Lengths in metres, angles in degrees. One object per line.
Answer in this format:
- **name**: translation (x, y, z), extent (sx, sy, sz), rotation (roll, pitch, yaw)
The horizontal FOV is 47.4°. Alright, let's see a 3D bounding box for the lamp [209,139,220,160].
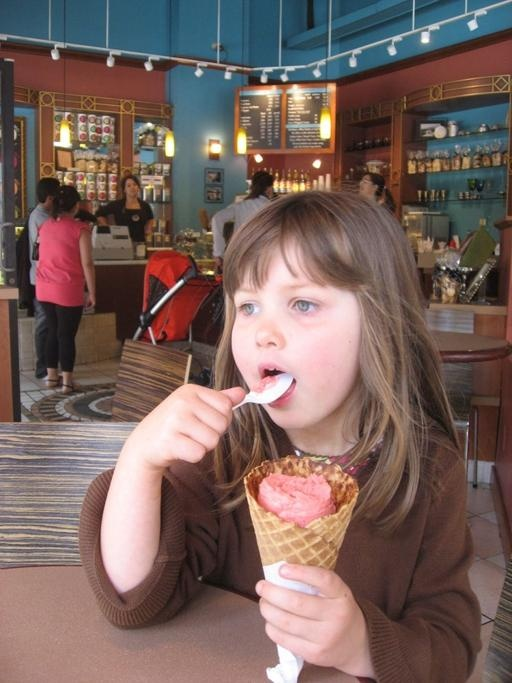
- **lamp**: translation (-0.585, -2.729, 8.308), extent (0.200, 0.274, 0.050), rotation (-7, 13, -30)

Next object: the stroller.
- **stroller**: translation (-0.552, -0.145, 4.168), extent (0.544, 0.838, 0.718), rotation (12, -5, -44)

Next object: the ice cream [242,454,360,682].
- **ice cream**: translation (0.040, 0.176, 0.537), extent (0.105, 0.112, 0.104), rotation (4, 11, 20)

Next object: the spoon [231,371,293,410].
- **spoon**: translation (0.011, 0.063, 0.669), extent (0.072, 0.010, 0.031), rotation (-30, 43, -2)

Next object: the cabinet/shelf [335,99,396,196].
- **cabinet/shelf**: translation (1.585, -2.355, 7.707), extent (0.460, 1.359, 0.847), rotation (-11, 16, -41)

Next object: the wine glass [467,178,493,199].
- **wine glass**: translation (2.399, -1.640, 6.259), extent (0.229, 0.173, 0.246), rotation (0, 7, 10)

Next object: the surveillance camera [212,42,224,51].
- **surveillance camera**: translation (-0.518, -3.999, 7.956), extent (0.128, 0.089, 0.042), rotation (18, 9, 37)

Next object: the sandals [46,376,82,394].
- **sandals**: translation (-1.603, 0.359, 4.847), extent (0.140, 0.098, 0.249), rotation (10, 13, 29)

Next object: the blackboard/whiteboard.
- **blackboard/whiteboard**: translation (0.397, -2.917, 7.602), extent (1.521, 0.931, 0.149), rotation (1, 10, 11)

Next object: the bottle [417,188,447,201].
- **bottle**: translation (2.032, -1.686, 6.753), extent (0.207, 0.096, 0.241), rotation (0, 5, 0)
